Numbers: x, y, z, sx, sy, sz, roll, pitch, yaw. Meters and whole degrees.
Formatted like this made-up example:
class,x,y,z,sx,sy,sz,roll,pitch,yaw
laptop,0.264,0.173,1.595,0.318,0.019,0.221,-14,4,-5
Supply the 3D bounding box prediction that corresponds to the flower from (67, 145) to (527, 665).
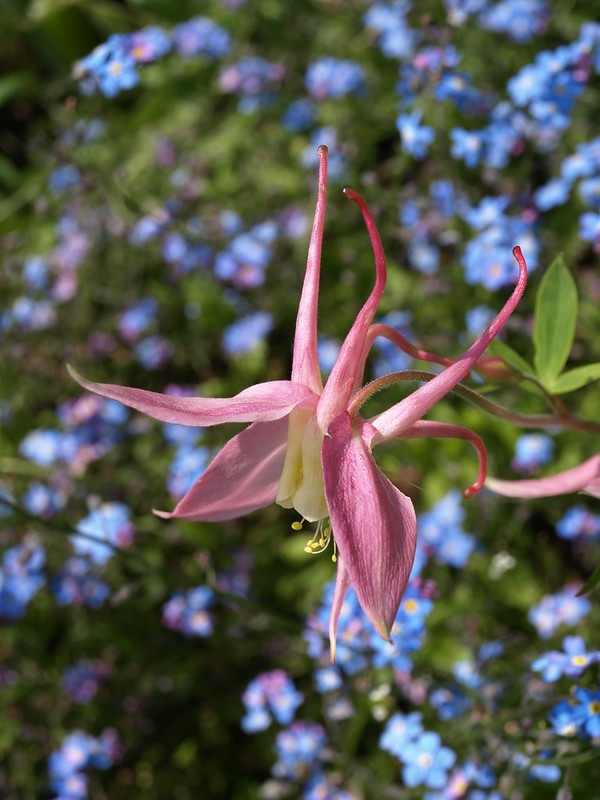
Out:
class,x,y,z,sx,sy,sz,roll,pitch,yaw
flower,0.085,-0.014,1.484,0.649,0.628,0.654,5,-71,-21
